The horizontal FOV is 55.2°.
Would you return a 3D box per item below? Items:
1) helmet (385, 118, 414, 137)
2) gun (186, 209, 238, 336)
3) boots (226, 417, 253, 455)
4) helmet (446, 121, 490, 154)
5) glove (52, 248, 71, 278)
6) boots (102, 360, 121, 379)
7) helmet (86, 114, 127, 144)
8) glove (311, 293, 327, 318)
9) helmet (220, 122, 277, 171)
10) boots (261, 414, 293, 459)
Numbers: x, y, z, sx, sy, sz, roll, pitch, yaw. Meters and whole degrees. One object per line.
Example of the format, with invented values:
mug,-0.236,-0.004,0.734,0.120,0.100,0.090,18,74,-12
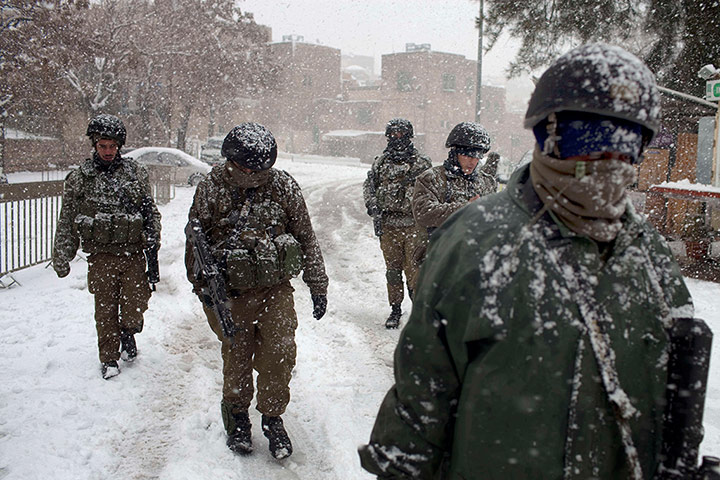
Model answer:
helmet,0.581,-1.661,10.344,0.279,0.227,0.320,3,14,-1
gun,-1.632,0.342,7.688,0.252,1.715,0.594,-6,-17,-37
boots,-1.341,2.154,7.614,0.295,0.406,0.250,-4,9,-10
helmet,1.369,-1.289,8.788,0.410,0.304,0.417,6,10,-43
glove,-3.693,0.304,8.565,0.197,0.351,0.266,-6,10,-26
boots,-3.099,1.616,8.563,0.217,0.194,0.180,-6,10,-21
helmet,-3.204,-1.411,8.758,0.391,0.399,0.345,4,5,-4
glove,-0.460,0.747,7.897,0.150,0.314,0.073,2,-5,-1
helmet,-1.230,-1.031,7.636,0.598,0.510,0.315,-4,9,-13
boots,-0.917,2.169,7.605,0.332,0.483,0.276,-1,9,5
